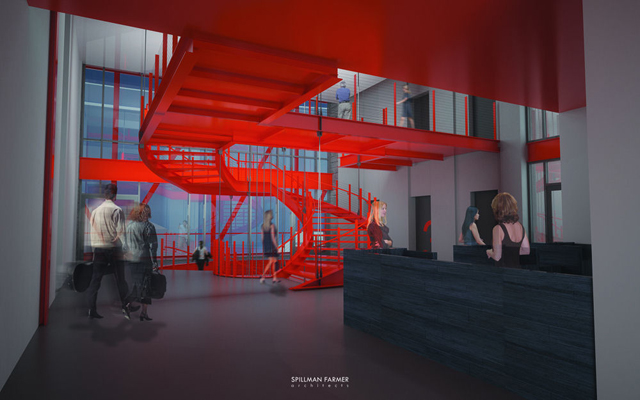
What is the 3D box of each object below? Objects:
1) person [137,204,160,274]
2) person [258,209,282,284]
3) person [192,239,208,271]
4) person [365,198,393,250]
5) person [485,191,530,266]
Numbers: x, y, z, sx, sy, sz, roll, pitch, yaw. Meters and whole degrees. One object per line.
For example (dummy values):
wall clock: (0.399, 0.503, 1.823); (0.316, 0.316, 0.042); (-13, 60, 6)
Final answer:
person: (-2.896, 0.646, 7.409); (0.230, 1.178, 0.334); (-2, 5, -23)
person: (-1.328, 1.181, 11.383); (0.429, 1.809, 1.260); (-1, 5, -7)
person: (-3.773, 1.740, 14.008); (0.481, 0.981, 0.731); (-4, 6, -38)
person: (1.143, 0.469, 8.414); (0.437, 0.894, 1.233); (0, 5, 7)
person: (2.674, 0.412, 6.124); (0.487, 0.985, 0.308); (2, 5, 25)
